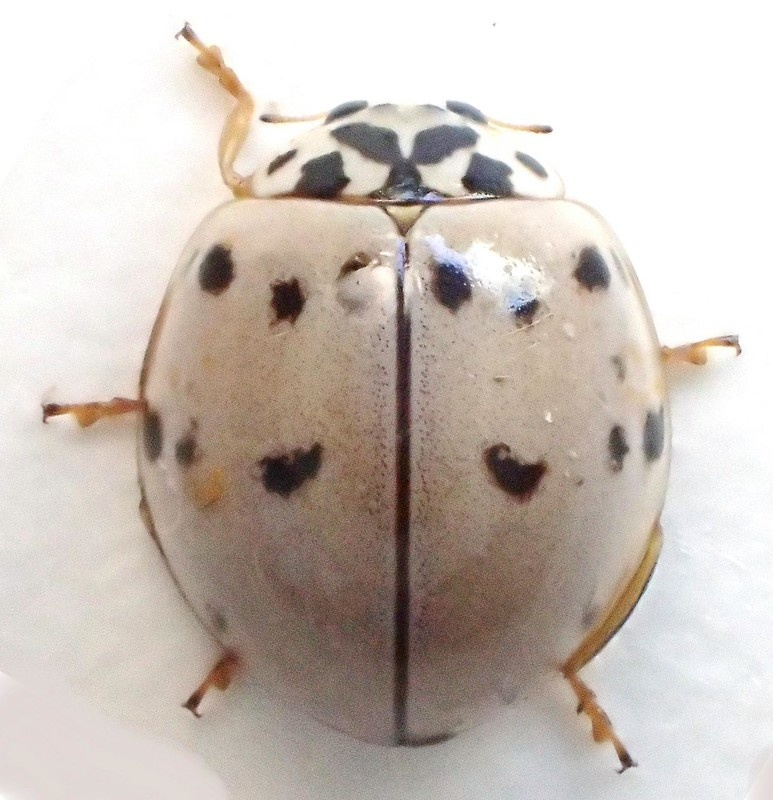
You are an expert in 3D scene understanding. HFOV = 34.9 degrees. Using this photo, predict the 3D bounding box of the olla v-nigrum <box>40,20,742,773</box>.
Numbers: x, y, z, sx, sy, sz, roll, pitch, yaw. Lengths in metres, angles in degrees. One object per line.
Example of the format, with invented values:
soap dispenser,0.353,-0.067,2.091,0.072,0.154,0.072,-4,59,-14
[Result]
olla v-nigrum,-0.014,0.030,1.267,0.769,0.236,0.786,0,83,-2
